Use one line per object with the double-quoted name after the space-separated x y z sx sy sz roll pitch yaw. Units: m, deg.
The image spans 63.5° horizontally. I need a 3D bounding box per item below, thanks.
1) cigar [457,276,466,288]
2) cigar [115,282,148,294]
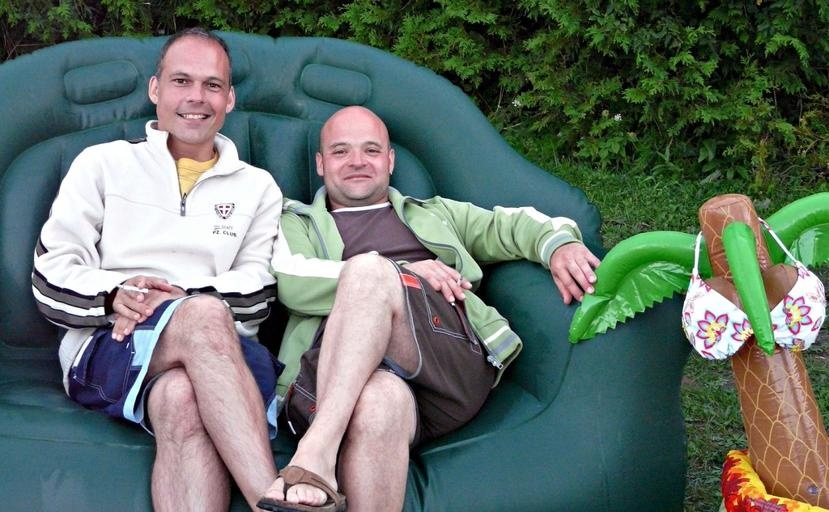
0.198 0.117 2.887 0.040 0.039 0.067 3 8 2 "cigar"
-1.131 0.135 2.669 0.117 0.022 0.045 10 16 16 "cigar"
